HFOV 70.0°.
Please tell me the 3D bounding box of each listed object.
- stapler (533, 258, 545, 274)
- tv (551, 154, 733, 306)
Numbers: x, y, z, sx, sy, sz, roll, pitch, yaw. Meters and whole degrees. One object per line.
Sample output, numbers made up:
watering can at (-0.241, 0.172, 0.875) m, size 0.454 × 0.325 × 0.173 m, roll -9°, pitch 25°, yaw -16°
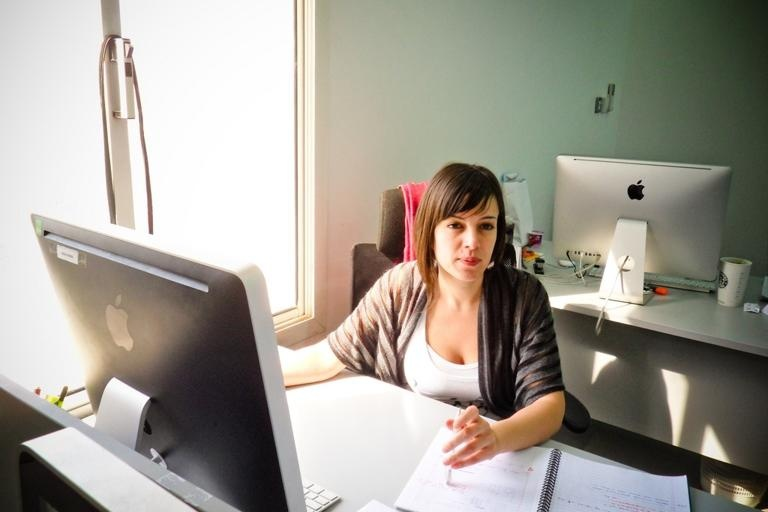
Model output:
stapler at (0.836, 0.068, 2.965) m, size 0.055 × 0.094 × 0.090 m, roll -1°, pitch 7°, yaw -13°
tv at (1.204, -0.096, 2.584) m, size 0.592 × 0.568 × 0.311 m, roll 11°, pitch 29°, yaw 24°
